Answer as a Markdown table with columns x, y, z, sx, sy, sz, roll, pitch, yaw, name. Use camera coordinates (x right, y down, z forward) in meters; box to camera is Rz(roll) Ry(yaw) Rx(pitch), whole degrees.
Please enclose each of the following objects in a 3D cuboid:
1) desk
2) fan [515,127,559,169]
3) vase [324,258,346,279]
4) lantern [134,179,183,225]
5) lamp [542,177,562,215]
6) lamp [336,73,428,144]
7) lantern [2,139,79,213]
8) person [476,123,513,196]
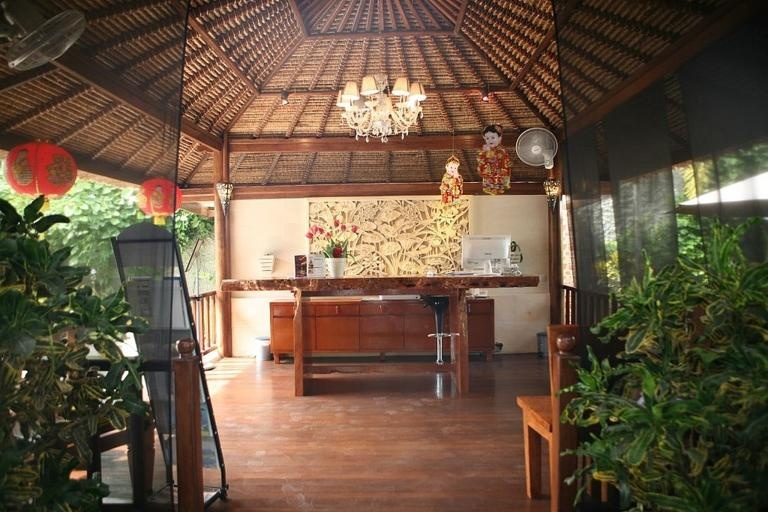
| x | y | z | sx | sy | sz | roll | pitch | yaw | name |
| --- | --- | --- | --- | --- | --- | --- | --- | --- | --- |
| -0.019 | 0.795 | 5.944 | 2.923 | 1.234 | 1.265 | -1 | 3 | 1 | desk |
| 1.793 | -1.267 | 6.163 | 0.127 | 0.525 | 0.536 | -25 | 16 | 42 | fan |
| -0.529 | 0.124 | 5.625 | 0.218 | 0.152 | 0.207 | -1 | -2 | 4 | vase |
| -1.023 | -0.242 | 2.512 | 0.208 | 0.221 | 0.201 | 1 | -6 | -33 | lantern |
| 2.442 | -0.849 | 7.649 | 0.333 | 0.453 | 0.319 | 7 | 2 | 17 | lamp |
| -0.011 | -1.561 | 5.553 | 0.909 | 0.588 | 0.832 | -3 | 1 | -15 | lamp |
| -1.458 | -0.363 | 2.450 | 0.316 | 0.328 | 0.315 | 6 | 9 | 10 | lantern |
| 1.337 | -1.184 | 6.541 | 0.367 | 0.774 | 0.400 | -1 | 3 | 9 | person |
